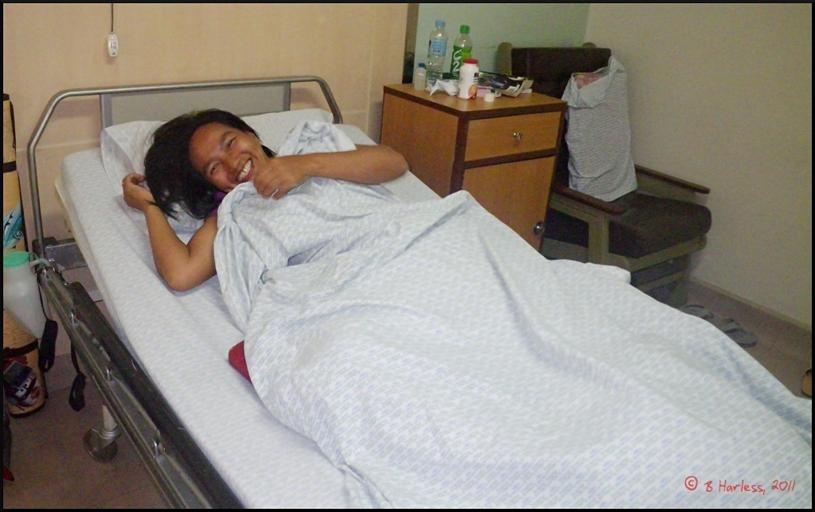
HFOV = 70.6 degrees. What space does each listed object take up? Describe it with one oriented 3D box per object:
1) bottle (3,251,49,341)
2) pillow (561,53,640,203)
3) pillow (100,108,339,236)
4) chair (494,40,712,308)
[{"bbox_3d":[-1.448,0.141,2.170,0.123,0.342,0.203,-11,30,-23],"label":"bottle"},{"bbox_3d":[1.063,-0.677,3.224,0.538,0.786,0.117,-8,11,-6],"label":"pillow"},{"bbox_3d":[-0.734,-0.302,2.179,0.514,0.300,0.167,-17,34,-28],"label":"pillow"},{"bbox_3d":[1.120,-0.346,3.200,0.738,1.185,0.919,-16,28,-29],"label":"chair"}]
